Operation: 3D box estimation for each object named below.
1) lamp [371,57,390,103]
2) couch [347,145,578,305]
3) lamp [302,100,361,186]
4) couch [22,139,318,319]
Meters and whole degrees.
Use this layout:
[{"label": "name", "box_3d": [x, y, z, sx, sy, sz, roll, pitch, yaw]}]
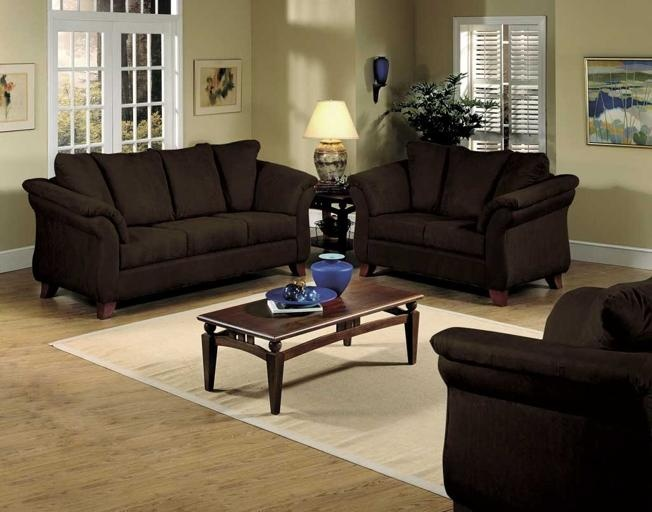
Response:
[{"label": "lamp", "box_3d": [0.692, -2.179, 7.035, 0.175, 0.578, 0.307, 10, 16, 36]}, {"label": "couch", "box_3d": [1.288, -0.435, 5.624, 1.057, 1.233, 1.988, -14, 20, -39]}, {"label": "lamp", "box_3d": [0.061, -1.339, 6.892, 0.916, 1.258, 0.886, 0, 9, 3]}, {"label": "couch", "box_3d": [-1.380, -0.407, 5.497, 1.137, 1.184, 2.556, 15, 20, 36]}]
